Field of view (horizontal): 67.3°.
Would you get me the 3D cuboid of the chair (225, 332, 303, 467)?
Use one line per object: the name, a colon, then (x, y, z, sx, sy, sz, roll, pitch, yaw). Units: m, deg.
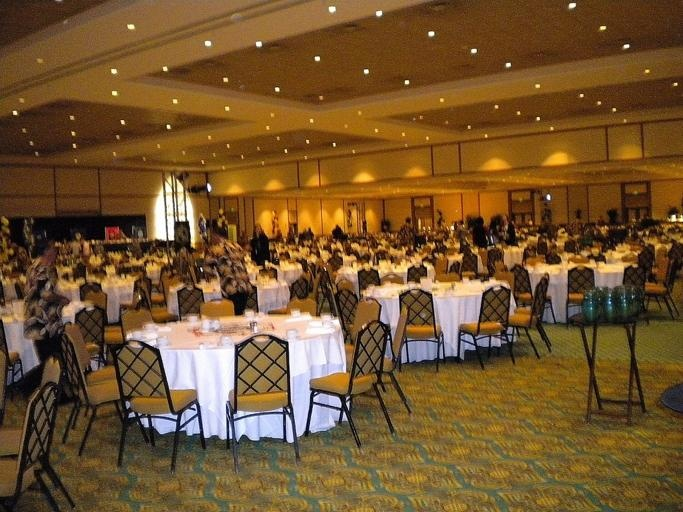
chair: (-0.765, 1.344, 4.908, 0.581, 1.214, 0.610, -2, 4, -13)

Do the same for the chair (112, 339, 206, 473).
chair: (-1.807, 1.397, 5.044, 0.691, 1.291, 0.837, -1, 1, 21)

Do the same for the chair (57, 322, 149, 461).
chair: (-2.566, 1.387, 5.593, 0.700, 1.252, 0.695, -2, 9, -33)

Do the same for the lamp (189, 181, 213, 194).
lamp: (-6.243, -2.959, 22.846, 1.084, 0.578, 4.143, -4, 11, -14)

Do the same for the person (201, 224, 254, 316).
person: (-1.799, 0.274, 8.571, 0.598, 1.644, 0.581, -1, 28, 22)

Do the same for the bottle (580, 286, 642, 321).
bottle: (2.512, 0.431, 4.813, 0.469, 0.304, 0.302, -1, -2, 23)
